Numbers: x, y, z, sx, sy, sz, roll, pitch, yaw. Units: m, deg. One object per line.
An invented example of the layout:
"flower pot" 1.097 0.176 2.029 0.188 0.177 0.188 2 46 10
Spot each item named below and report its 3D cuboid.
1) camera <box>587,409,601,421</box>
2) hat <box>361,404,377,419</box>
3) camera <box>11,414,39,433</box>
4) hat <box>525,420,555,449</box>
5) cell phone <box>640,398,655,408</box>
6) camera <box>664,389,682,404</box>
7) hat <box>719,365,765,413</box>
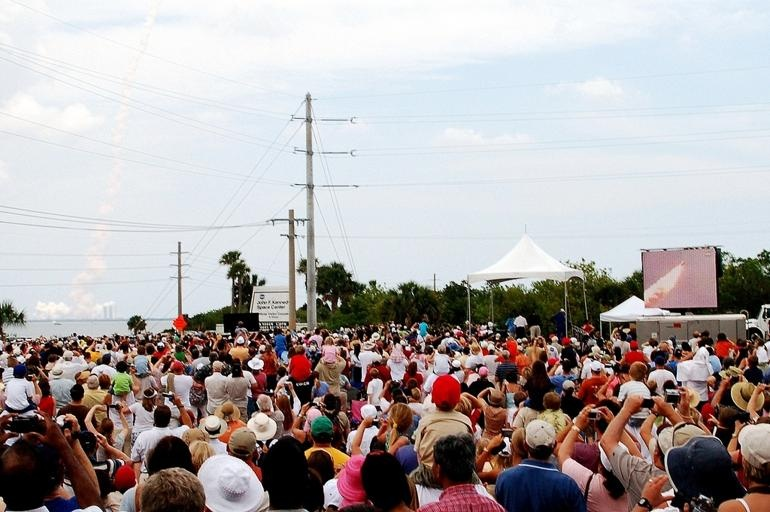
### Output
"camera" 2.325 1.719 10.320 0.125 0.084 0.123 0 -1 18
"hat" -0.216 2.134 12.831 0.191 0.221 0.248 2 5 9
"camera" -3.498 1.620 9.172 0.257 0.169 0.179 2 1 3
"hat" 1.673 1.905 10.139 0.331 0.297 0.202 -3 -8 24
"cell phone" 2.860 1.596 10.286 0.204 0.141 0.051 7 -1 -39
"camera" 3.176 1.517 10.337 0.172 0.106 0.171 0 -4 -3
"hat" 5.696 2.113 14.919 0.474 0.425 0.129 -23 -19 -30
